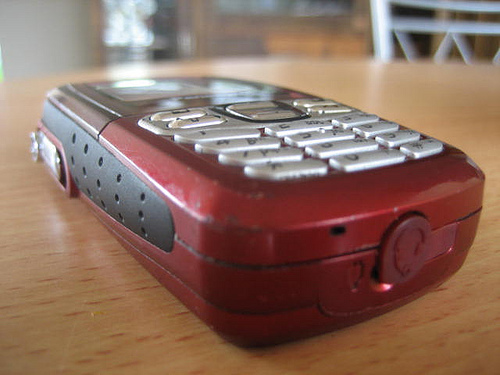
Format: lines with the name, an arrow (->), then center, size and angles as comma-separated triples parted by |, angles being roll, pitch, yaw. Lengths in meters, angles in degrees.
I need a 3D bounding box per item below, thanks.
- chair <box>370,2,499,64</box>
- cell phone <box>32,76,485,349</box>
chair -> 0.532, -0.433, 1.350 | 0.385, 0.157, 0.256 | 17, 27, 40
cell phone -> -0.034, -0.031, 0.357 | 0.179, 0.075, 0.273 | -10, 25, -32
